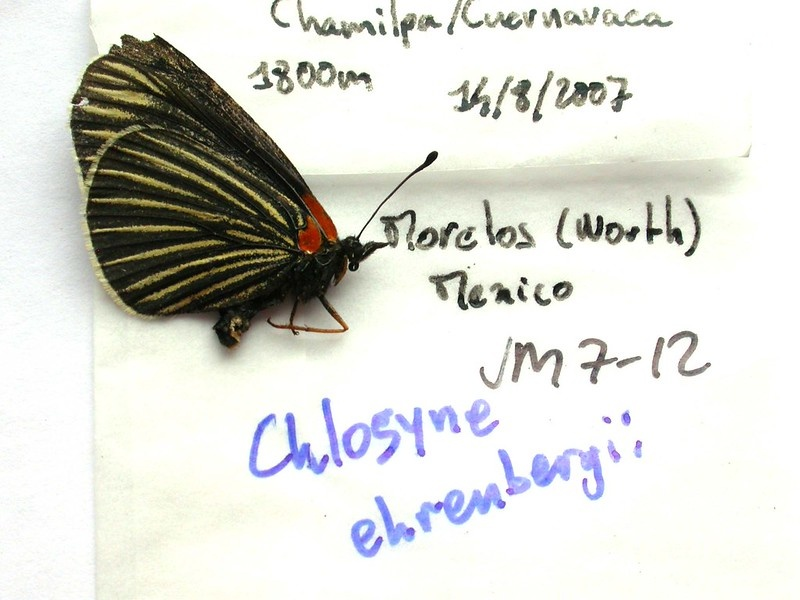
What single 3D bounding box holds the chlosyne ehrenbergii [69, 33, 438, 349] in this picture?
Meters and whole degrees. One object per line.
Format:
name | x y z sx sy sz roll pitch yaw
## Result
chlosyne ehrenbergii | -0.121 -0.100 1.002 0.449 0.168 0.339 7 94 30
